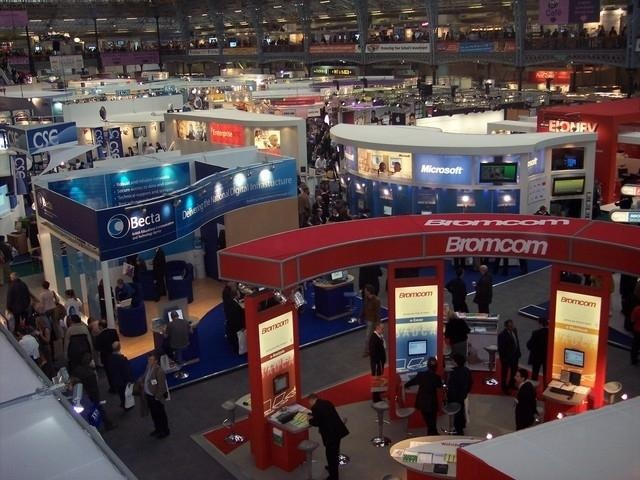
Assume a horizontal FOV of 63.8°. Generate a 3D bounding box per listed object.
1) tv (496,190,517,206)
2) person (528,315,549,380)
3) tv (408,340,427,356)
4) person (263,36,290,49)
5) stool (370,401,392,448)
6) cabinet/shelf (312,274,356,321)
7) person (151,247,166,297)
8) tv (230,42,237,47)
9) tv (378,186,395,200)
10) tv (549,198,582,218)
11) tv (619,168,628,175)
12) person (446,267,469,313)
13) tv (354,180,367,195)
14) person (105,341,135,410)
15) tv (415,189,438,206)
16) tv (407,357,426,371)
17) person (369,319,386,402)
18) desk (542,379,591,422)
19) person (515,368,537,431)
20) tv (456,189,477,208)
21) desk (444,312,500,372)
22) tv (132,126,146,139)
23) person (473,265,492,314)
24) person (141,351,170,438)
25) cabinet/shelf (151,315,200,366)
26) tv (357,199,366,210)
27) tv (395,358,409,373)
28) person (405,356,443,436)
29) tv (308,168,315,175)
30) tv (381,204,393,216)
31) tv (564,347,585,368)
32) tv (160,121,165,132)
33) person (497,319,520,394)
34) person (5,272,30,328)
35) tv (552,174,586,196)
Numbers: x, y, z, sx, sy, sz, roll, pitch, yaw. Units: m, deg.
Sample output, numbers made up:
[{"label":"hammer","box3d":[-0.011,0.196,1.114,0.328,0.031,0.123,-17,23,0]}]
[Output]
[{"label":"tv","box3d":[4.365,-0.949,12.073,0.400,0.386,0.374,0,3,5]},{"label":"person","box3d":[3.122,1.609,7.430,0.261,1.126,0.776,2,17,22]},{"label":"tv","box3d":[1.333,1.493,7.132,0.216,0.162,0.029,-4,11,-13]},{"label":"person","box3d":[-3.604,-16.545,43.206,1.327,1.059,3.377,-17,20,-38]},{"label":"stool","box3d":[0.787,2.342,6.777,0.253,0.631,0.480,-2,15,6]},{"label":"cabinet/shelf","box3d":[0.271,1.150,10.063,0.896,0.851,0.600,-20,26,-40]},{"label":"person","box3d":[-3.472,0.734,11.212,0.290,1.128,0.351,-10,16,-19]},{"label":"tv","box3d":[-7.974,-18.011,47.310,0.706,0.491,0.784,-2,16,8]},{"label":"tv","box3d":[1.687,-1.223,13.228,0.057,0.377,0.454,-14,18,-32]},{"label":"tv","box3d":[6.108,-0.817,12.880,0.682,0.492,0.072,-8,14,-25]},{"label":"tv","box3d":[9.831,-2.241,16.825,0.206,0.252,0.300,4,-2,17]},{"label":"person","box3d":[2.455,0.900,9.279,0.362,0.906,0.932,0,16,14]},{"label":"tv","box3d":[1.102,-1.423,14.052,0.039,0.345,0.586,-12,17,-26]},{"label":"person","box3d":[-2.976,2.015,7.668,0.435,1.081,0.198,5,18,31]},{"label":"tv","box3d":[2.582,-1.026,12.544,0.433,0.429,0.416,2,32,-3]},{"label":"tv","box3d":[1.349,1.744,7.195,0.254,0.158,0.186,-4,2,-27]},{"label":"person","box3d":[0.855,1.700,7.696,0.235,0.994,0.488,-3,15,5]},{"label":"desk","box3d":[3.141,2.187,6.669,0.531,0.516,0.569,8,20,38]},{"label":"person","box3d":[2.567,2.018,6.429,0.242,0.783,0.474,3,17,23]},{"label":"tv","box3d":[3.449,-0.958,12.181,0.425,0.450,0.062,-1,15,10]},{"label":"desk","box3d":[2.327,1.615,7.950,0.889,0.866,0.491,2,14,14]},{"label":"tv","box3d":[-7.454,-4.474,21.219,0.311,0.557,0.587,9,9,24]},{"label":"person","box3d":[2.936,0.943,9.319,0.287,1.108,0.741,1,16,17]},{"label":"person","box3d":[-2.222,2.120,7.003,0.317,1.212,0.259,-7,15,-10]},{"label":"cabinet/shelf","box3d":[-2.374,1.691,8.489,0.662,0.866,0.542,-7,22,-25]},{"label":"tv","box3d":[1.140,-0.989,14.119,0.160,0.299,0.309,-10,19,-24]},{"label":"tv","box3d":[1.117,1.734,7.222,0.227,0.214,0.160,-2,7,-9]},{"label":"person","box3d":[1.343,2.097,6.801,0.534,1.173,0.415,5,12,25]},{"label":"tv","box3d":[-0.276,-2.221,16.727,0.286,0.251,0.156,3,20,6]},{"label":"tv","box3d":[1.738,-0.779,13.313,0.300,0.292,0.041,20,39,37]},{"label":"tv","box3d":[3.360,1.556,6.803,0.036,0.202,0.271,-9,11,-41]},{"label":"tv","box3d":[-6.749,-4.820,21.970,0.063,0.404,0.181,9,20,40]},{"label":"person","box3d":[2.794,1.700,7.665,0.308,1.202,0.523,1,16,19]},{"label":"person","box3d":[-5.444,1.084,9.324,0.396,0.879,0.832,-14,18,-31]},{"label":"tv","box3d":[6.174,-1.334,12.857,0.886,0.504,0.077,-8,16,-14]}]
